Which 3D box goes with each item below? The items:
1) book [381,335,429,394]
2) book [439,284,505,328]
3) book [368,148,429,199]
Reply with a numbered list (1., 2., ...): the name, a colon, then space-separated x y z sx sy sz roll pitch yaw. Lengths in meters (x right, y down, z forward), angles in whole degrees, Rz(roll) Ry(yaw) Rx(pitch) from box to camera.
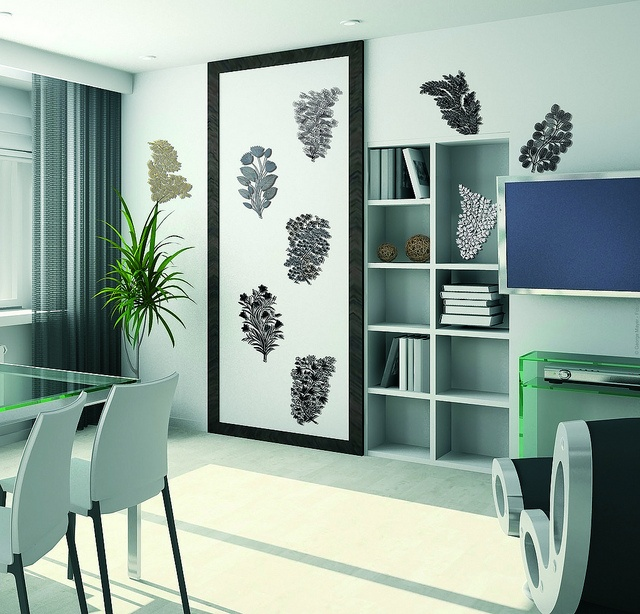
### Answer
1. book: 0.630 0.422 4.172 0.130 0.394 0.372 -2 3 -43
2. book: 1.047 -0.013 3.950 0.380 0.307 0.293 -1 -1 30
3. book: 0.626 -0.885 4.303 0.352 0.526 0.504 1 7 28
